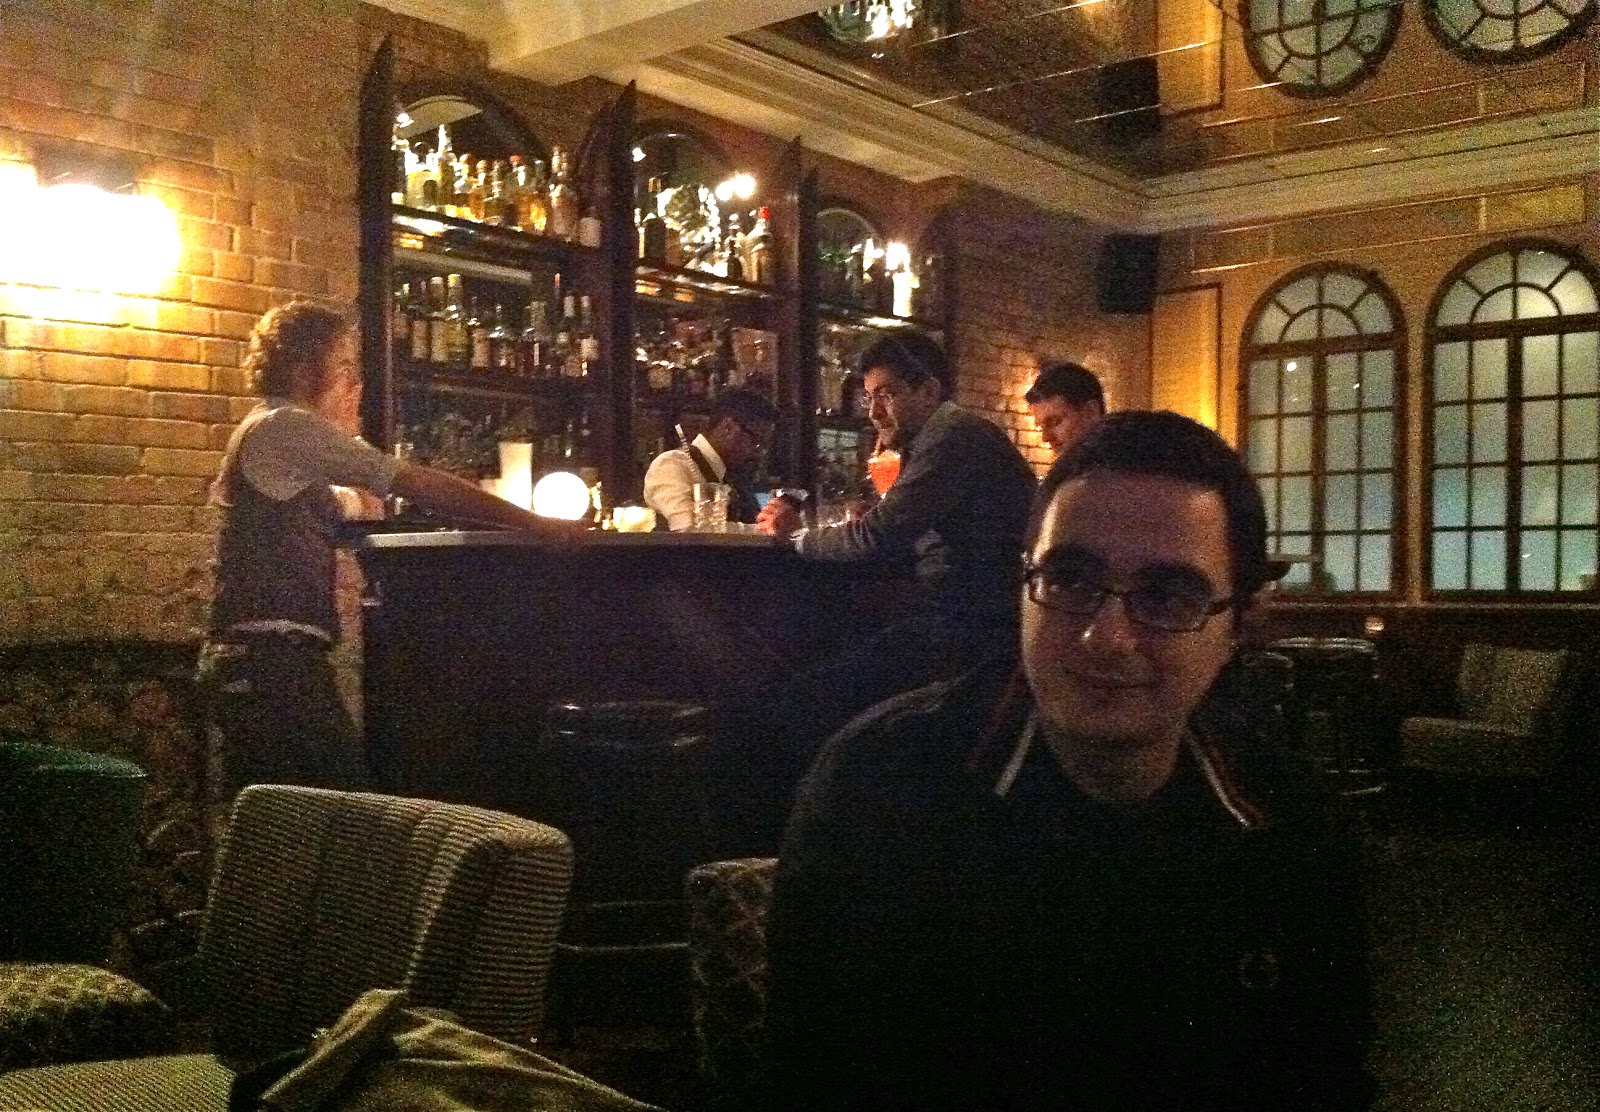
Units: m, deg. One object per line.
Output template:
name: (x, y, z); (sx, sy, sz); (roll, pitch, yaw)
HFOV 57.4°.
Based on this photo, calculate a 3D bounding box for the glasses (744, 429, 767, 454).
glasses: (-0.161, -0.416, 5.237); (0.058, 0.071, 0.072); (-8, 45, 5)

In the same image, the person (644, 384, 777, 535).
person: (-0.317, -0.331, 5.241); (0.585, 0.653, 0.542); (1, 0, -3)

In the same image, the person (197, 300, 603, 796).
person: (-1.282, -0.027, 3.944); (0.495, 1.151, 0.904); (3, 1, -37)

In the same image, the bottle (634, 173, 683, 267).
bottle: (-0.565, -1.386, 5.979); (0.166, 0.368, 0.535); (3, 1, -6)

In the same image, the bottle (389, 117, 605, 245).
bottle: (-1.161, -1.400, 5.408); (0.812, 0.418, 0.376); (2, 1, -39)
